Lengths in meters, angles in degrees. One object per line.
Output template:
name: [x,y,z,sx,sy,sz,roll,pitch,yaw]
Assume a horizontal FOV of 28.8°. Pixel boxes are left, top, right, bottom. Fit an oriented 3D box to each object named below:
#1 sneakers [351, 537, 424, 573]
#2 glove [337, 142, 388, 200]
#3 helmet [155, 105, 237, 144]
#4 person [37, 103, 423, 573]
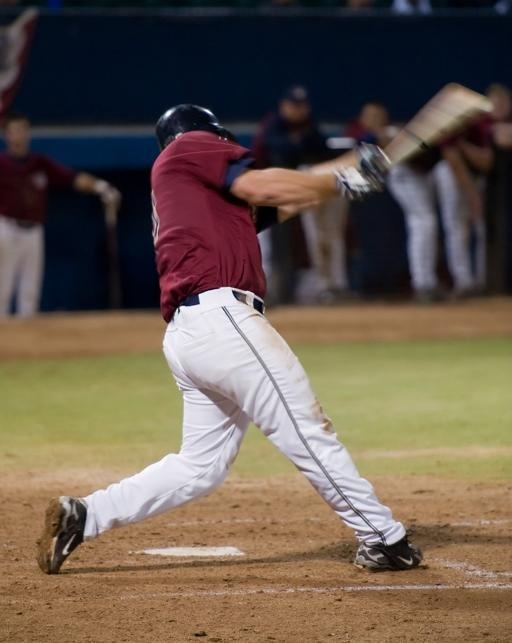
sneakers: [0.367,0.649,2.778,0.224,0.092,0.077,0,-4,-16]
glove: [0.288,-0.399,2.662,0.168,0.136,0.063,0,2,-12]
helmet: [-0.203,-0.583,2.971,0.194,0.128,0.136,-19,8,32]
person: [-0.079,0.049,2.853,1.078,1.327,0.475,-1,13,6]
